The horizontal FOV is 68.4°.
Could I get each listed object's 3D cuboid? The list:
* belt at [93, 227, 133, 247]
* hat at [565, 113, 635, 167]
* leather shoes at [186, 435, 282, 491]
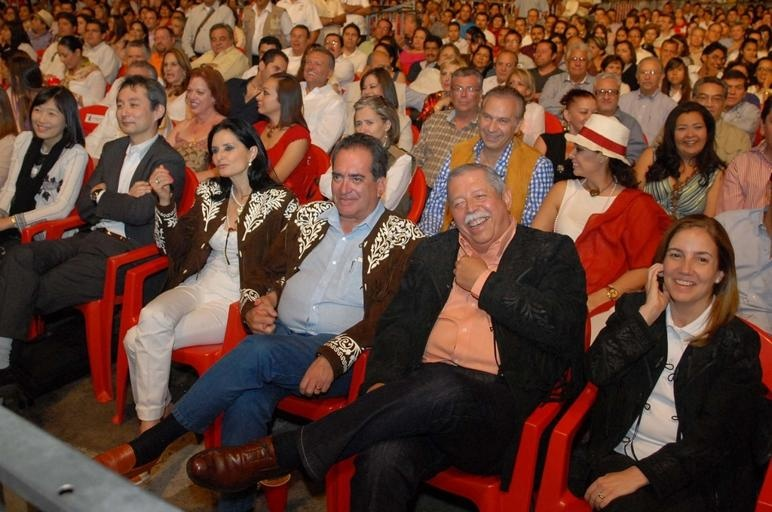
[{"bbox_3d":[-1.852,-0.129,3.894,0.189,0.050,0.143,34,7,33],"label":"belt"},{"bbox_3d":[1.322,-0.725,3.569,0.332,0.182,0.324,25,17,2],"label":"hat"},{"bbox_3d":[-0.638,0.894,2.516,0.489,0.183,0.211,-3,-25,-28],"label":"leather shoes"}]
